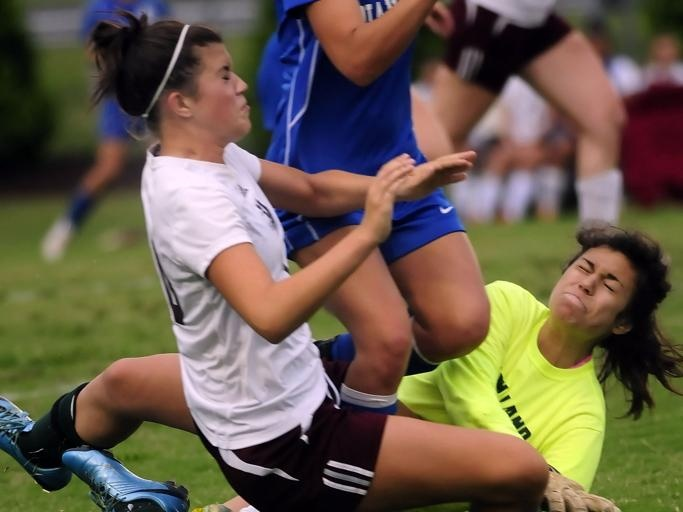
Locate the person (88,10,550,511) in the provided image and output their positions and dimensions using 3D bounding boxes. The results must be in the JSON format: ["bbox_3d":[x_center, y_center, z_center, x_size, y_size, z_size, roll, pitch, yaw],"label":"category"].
[{"bbox_3d":[-0.143,0.035,3.650,1.471,1.409,0.992,-3,27,-10],"label":"person"}]
